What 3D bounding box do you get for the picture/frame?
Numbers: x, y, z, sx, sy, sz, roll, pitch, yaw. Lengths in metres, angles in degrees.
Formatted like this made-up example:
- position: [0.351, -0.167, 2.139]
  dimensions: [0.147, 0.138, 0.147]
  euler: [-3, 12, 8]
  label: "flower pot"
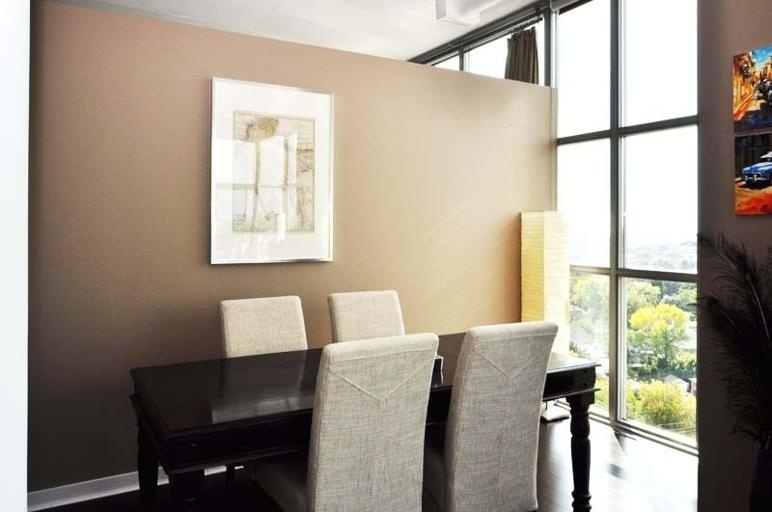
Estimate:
- position: [-0.910, -0.676, 4.483]
  dimensions: [1.054, 1.432, 0.029]
  euler: [-4, 3, -26]
  label: "picture/frame"
